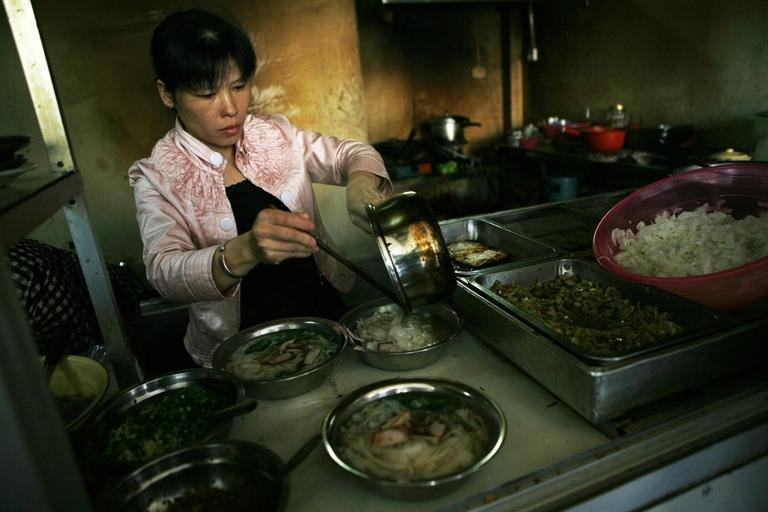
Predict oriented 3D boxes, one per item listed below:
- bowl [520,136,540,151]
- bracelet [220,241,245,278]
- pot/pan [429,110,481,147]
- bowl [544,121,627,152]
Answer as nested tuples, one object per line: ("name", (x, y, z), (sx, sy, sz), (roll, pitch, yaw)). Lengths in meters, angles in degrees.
("bowl", (1.356, -1.038, 5.284), (0.173, 0.099, 0.174), (-6, 21, 2))
("bracelet", (-0.651, 0.030, 2.378), (0.044, 0.132, 0.132), (-15, 39, -31))
("pot/pan", (0.668, -1.247, 5.636), (0.527, 0.265, 0.284), (-3, 26, -3))
("bowl", (1.586, -0.938, 4.493), (0.486, 0.137, 0.268), (9, 18, 41))
